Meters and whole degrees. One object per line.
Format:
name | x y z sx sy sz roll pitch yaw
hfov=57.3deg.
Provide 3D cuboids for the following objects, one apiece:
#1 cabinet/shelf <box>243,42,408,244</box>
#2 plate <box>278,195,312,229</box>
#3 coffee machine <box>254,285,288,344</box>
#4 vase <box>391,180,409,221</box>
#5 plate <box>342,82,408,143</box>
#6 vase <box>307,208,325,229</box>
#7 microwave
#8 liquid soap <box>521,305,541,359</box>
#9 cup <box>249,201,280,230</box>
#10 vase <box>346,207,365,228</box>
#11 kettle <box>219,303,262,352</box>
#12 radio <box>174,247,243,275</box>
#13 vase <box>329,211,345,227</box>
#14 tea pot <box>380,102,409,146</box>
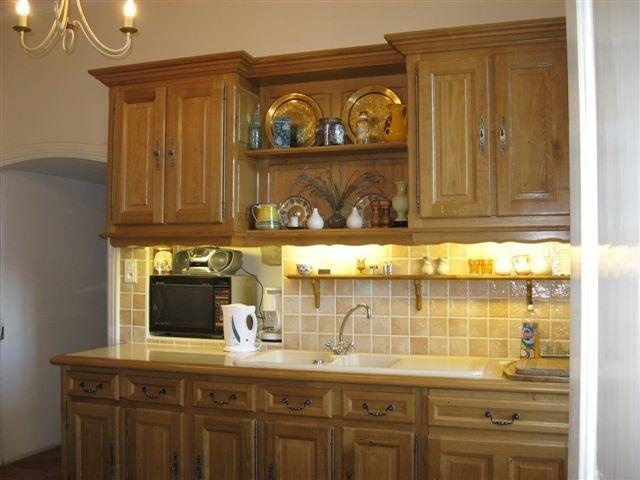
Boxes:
cabinet/shelf | 0.061 -0.579 3.640 1.292 1.196 0.384 -2 -6 17
plate | -0.160 -0.171 3.757 0.208 0.201 0.048 -6 -10 19
coffee machine | -0.334 0.502 3.924 0.171 0.346 0.131 2 4 26
vase | 0.492 -0.228 3.493 0.117 0.224 0.112 2 10 21
plate | 0.328 -0.774 3.666 0.370 0.366 0.050 33 6 10
vase | -0.030 -0.129 3.600 0.098 0.132 0.085 0 -3 5
microwave | -0.826 0.326 4.023 0.736 0.460 0.422 -2 -7 21
liquid soap | 1.191 0.522 3.317 0.106 0.343 0.101 0 17 13
cup | -0.336 -0.158 3.676 0.198 0.164 0.147 0 -3 1
vase | 0.206 -0.130 3.530 0.098 0.131 0.096 0 -3 7
kettle | -0.509 0.546 3.770 0.204 0.302 0.227 0 3 -39
radio | -0.778 0.148 4.054 0.448 0.185 0.129 -1 -3 12
vase | 0.105 -0.126 3.560 0.087 0.111 0.084 -3 -5 20
tea pot | 0.450 -0.701 3.530 0.211 0.208 0.150 1 17 14
